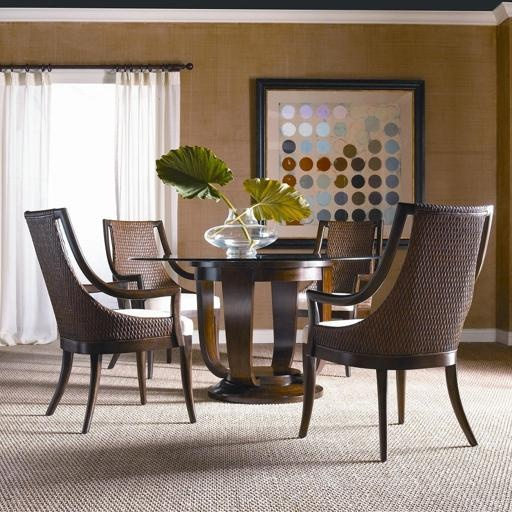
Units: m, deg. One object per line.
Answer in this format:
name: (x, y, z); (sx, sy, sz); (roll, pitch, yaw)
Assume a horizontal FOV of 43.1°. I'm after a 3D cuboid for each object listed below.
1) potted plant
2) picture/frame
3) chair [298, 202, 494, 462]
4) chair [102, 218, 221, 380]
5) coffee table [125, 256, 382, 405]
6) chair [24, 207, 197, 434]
potted plant: (-0.076, -0.264, 3.604); (0.801, 0.576, 0.773); (5, -2, -5)
picture/frame: (0.640, -0.737, 5.171); (1.250, 1.373, 0.051); (6, 39, 13)
chair: (0.586, 0.266, 2.650); (0.602, 0.955, 0.664); (-2, 4, -37)
chair: (-0.573, 0.245, 3.898); (0.536, 0.959, 0.615); (-4, 4, -38)
coffee table: (0.007, 0.341, 3.346); (0.992, 0.672, 1.025); (-5, 1, 22)
chair: (-0.676, 0.248, 2.967); (0.710, 0.943, 0.613); (-1, 3, -23)
